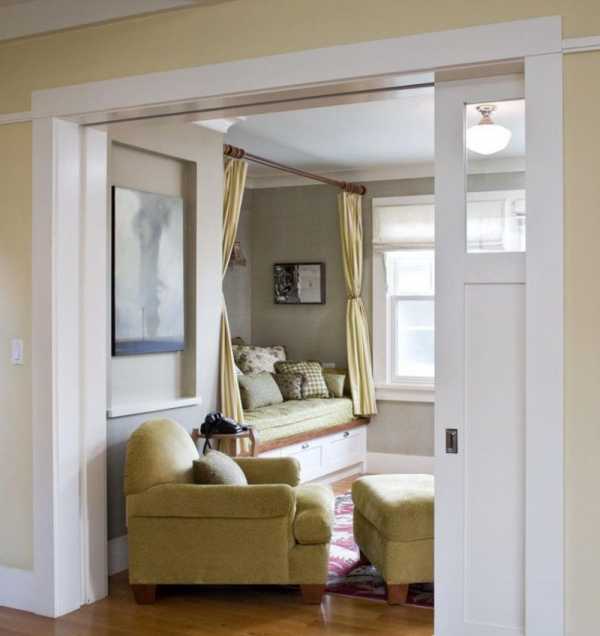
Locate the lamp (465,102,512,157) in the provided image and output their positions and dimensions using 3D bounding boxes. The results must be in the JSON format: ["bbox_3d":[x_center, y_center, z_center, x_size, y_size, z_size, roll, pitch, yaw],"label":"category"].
[{"bbox_3d":[0.637,-0.642,2.085,0.169,0.159,0.170,-6,11,-9],"label":"lamp"}]

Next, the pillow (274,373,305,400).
[{"bbox_3d":[-0.090,0.630,5.573,0.221,0.229,0.097,4,-17,-17],"label":"pillow"}]

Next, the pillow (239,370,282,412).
[{"bbox_3d":[-0.353,0.627,5.187,0.122,0.254,0.429,-21,-13,37],"label":"pillow"}]

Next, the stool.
[{"bbox_3d":[0.501,1.122,3.098,0.395,0.497,0.666,0,-1,-1],"label":"stool"}]

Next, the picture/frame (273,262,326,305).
[{"bbox_3d":[0.017,-0.357,6.258,0.427,0.329,0.019,2,2,25],"label":"picture/frame"}]

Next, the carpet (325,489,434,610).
[{"bbox_3d":[0.406,1.161,3.010,0.351,0.118,0.560,0,-1,18],"label":"carpet"}]
